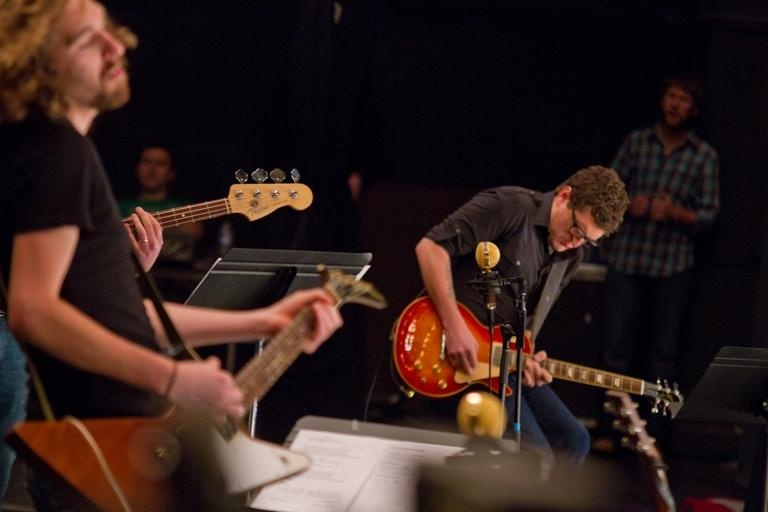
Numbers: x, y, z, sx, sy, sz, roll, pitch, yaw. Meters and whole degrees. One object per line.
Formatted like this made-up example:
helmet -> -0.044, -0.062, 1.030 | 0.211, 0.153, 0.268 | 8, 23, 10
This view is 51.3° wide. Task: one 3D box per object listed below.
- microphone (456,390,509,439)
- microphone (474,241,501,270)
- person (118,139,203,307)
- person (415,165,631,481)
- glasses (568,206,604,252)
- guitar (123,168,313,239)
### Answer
microphone -> 0.376, 0.641, 3.127 | 0.168, 0.183, 0.291 | 5, 7, 7
microphone -> 0.513, 0.000, 3.961 | 0.101, 0.141, 0.142 | 6, 7, 13
person -> -1.608, -0.257, 5.786 | 0.575, 1.199, 0.179 | -2, -7, -2
person -> 0.760, 0.287, 4.622 | 1.138, 1.681, 0.634 | 5, 7, 3
glasses -> 1.150, -0.181, 4.607 | 0.225, 0.232, 0.067 | 25, -34, -31
guitar -> -0.935, -0.300, 4.285 | 0.128, 0.272, 1.187 | 1, 15, 16
